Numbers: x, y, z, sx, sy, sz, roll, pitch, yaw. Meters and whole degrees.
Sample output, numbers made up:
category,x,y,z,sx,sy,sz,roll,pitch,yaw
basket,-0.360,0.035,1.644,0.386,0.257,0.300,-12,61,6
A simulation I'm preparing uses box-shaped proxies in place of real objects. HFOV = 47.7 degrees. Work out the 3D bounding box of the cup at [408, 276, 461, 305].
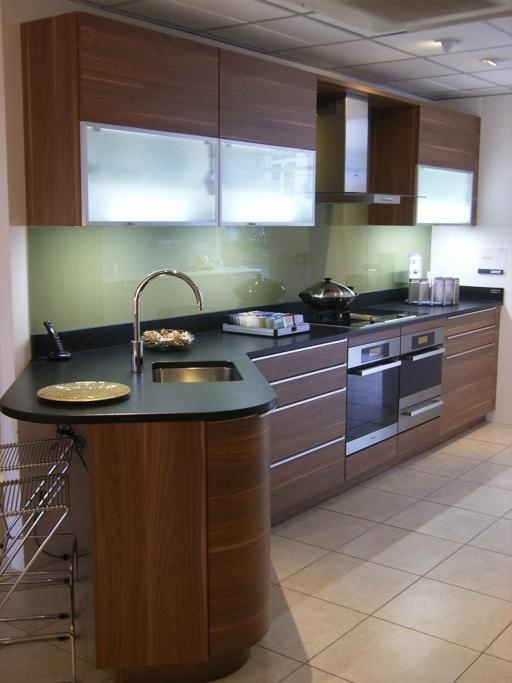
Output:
category,x,y,z,sx,sy,sz,roll,pitch,yaw
cup,1.465,-0.416,4.772,0.330,0.192,0.245,0,9,7

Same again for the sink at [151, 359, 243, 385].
category,x,y,z,sx,sy,sz,roll,pitch,yaw
sink,-0.263,0.129,2.381,0.330,0.089,0.162,0,4,-10

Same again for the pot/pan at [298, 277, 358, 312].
category,x,y,z,sx,sy,sz,roll,pitch,yaw
pot/pan,0.443,-0.308,3.776,0.317,0.163,0.347,0,1,5

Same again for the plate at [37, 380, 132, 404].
category,x,y,z,sx,sy,sz,roll,pitch,yaw
plate,-0.535,0.157,1.791,0.268,0.031,0.328,-2,5,-27

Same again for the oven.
category,x,y,z,sx,sy,sz,roll,pitch,yaw
oven,0.871,0.307,3.724,0.469,0.590,0.916,2,8,38

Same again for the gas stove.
category,x,y,z,sx,sy,sz,roll,pitch,yaw
gas stove,0.632,-0.238,3.855,0.674,0.185,0.489,-11,13,-41
